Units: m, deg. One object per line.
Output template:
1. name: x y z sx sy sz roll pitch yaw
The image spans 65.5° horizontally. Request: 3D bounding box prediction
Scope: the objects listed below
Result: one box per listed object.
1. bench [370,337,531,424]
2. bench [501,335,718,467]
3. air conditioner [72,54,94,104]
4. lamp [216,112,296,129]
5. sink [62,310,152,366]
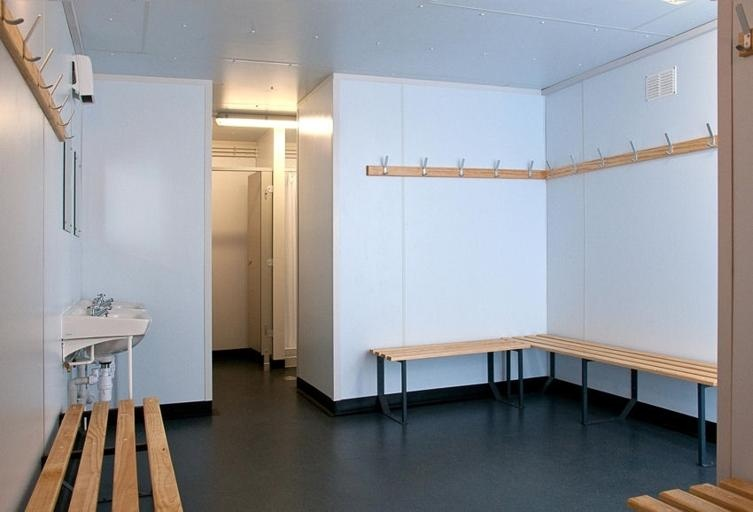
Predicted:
1. bench: 0.828 1.339 6.293 1.767 0.766 0.552 -1 4 -27
2. bench: 2.314 1.285 5.653 0.671 0.723 2.077 -3 5 -31
3. air conditioner: -2.320 -1.426 4.602 0.111 0.371 0.330 -2 4 -16
4. lamp: -1.452 -1.712 7.439 1.217 0.204 0.086 -2 -14 -22
5. sink: -2.201 0.665 4.811 0.626 0.489 0.853 -3 4 -24
